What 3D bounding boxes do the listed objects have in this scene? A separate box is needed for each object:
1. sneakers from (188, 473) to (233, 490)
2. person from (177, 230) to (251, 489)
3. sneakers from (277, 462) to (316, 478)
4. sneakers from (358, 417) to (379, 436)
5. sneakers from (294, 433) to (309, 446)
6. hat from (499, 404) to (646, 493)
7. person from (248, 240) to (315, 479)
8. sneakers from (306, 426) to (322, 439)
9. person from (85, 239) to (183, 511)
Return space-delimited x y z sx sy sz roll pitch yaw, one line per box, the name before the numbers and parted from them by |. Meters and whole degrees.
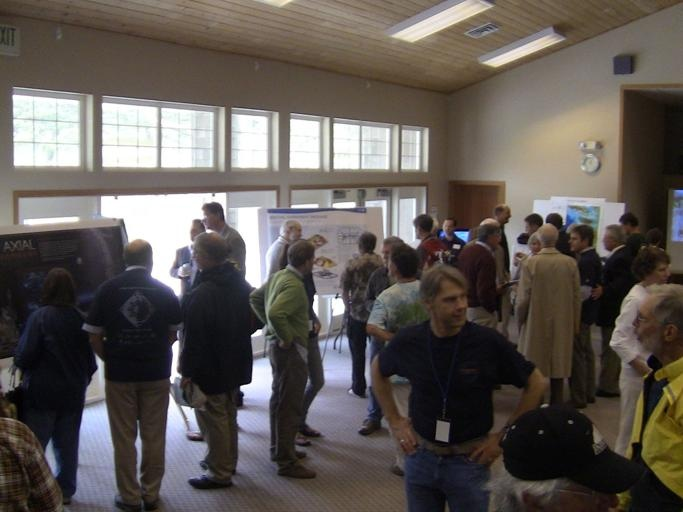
sneakers | -1.047 1.787 4.331 0.337 0.151 0.128 6 -4 -3
person | -0.960 0.834 4.189 0.514 2.009 0.333 -1 8 -9
sneakers | -0.371 1.763 4.467 0.319 0.133 0.122 0 -3 2
sneakers | 0.268 1.642 5.231 0.093 0.099 0.225 -4 -6 39
sneakers | -0.389 1.691 5.008 0.072 0.094 0.212 0 -3 -41
hat | 0.800 0.681 1.892 0.432 0.229 0.273 -2 10 23
person | -0.457 0.839 4.390 0.468 1.908 0.407 0 8 -3
sneakers | -0.229 1.668 5.090 0.197 0.087 0.062 -3 2 20
person | -1.519 0.877 4.023 0.509 1.958 0.481 4 9 25
